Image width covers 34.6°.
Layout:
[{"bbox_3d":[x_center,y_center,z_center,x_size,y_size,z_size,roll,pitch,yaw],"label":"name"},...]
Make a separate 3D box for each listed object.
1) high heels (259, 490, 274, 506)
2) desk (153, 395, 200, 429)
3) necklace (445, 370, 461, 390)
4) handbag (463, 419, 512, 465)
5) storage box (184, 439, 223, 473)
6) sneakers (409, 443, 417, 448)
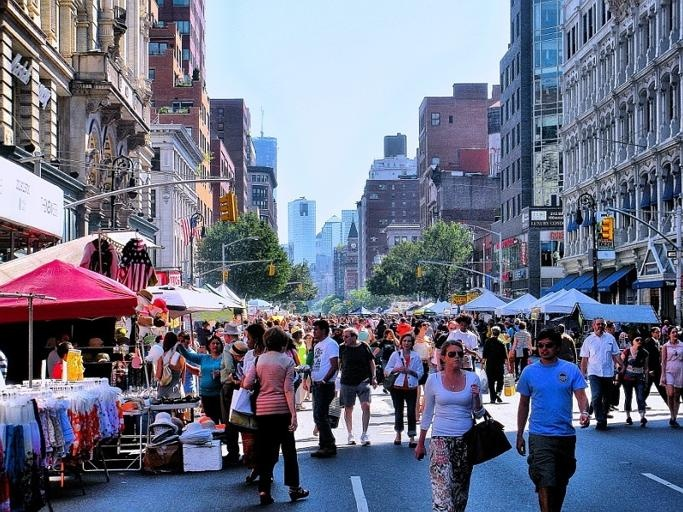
[{"bbox_3d":[-1.247,4.068,18.477,0.110,0.143,0.334,1,1,12],"label":"high heels"},{"bbox_3d":[-3.347,3.140,22.333,0.742,0.500,1.062,0,-3,7],"label":"desk"},{"bbox_3d":[1.744,1.923,16.929,0.199,0.276,0.068,-2,-5,1],"label":"necklace"},{"bbox_3d":[2.220,2.793,16.570,0.671,0.675,0.282,-4,-7,5],"label":"handbag"},{"bbox_3d":[-2.739,3.893,21.468,0.972,0.469,0.977,0,1,28],"label":"storage box"},{"bbox_3d":[1.519,3.935,22.819,0.152,0.110,0.083,-1,4,1],"label":"sneakers"}]
